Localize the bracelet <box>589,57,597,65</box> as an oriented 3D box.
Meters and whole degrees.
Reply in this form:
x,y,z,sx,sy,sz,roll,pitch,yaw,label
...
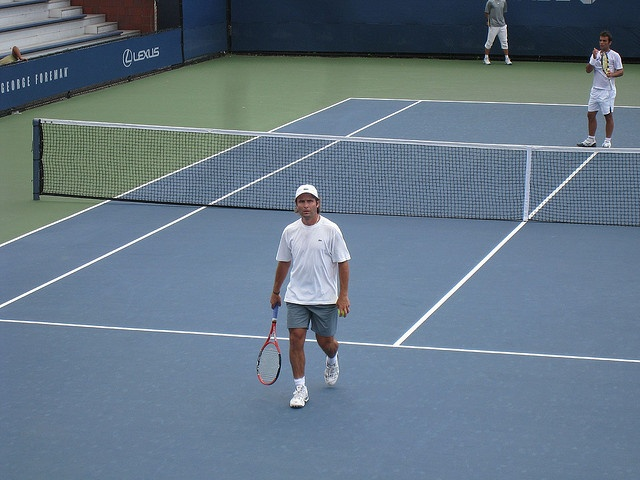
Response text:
x,y,z,sx,sy,sz,roll,pitch,yaw,label
5.052,-3.318,14.442,0.133,0.118,0.153,1,7,-1,bracelet

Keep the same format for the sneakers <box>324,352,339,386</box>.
x,y,z,sx,sy,sz,roll,pitch,yaw,label
0.113,1.278,7.676,0.111,0.352,0.135,1,9,8,sneakers

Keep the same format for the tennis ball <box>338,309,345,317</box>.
x,y,z,sx,sy,sz,roll,pitch,yaw,label
0.198,0.682,7.294,0.051,0.070,0.091,1,3,4,tennis ball

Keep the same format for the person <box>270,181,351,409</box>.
x,y,z,sx,sy,sz,roll,pitch,yaw,label
-0.095,0.537,7.407,0.726,2.107,0.418,2,6,-3,person

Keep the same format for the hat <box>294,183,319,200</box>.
x,y,z,sx,sy,sz,roll,pitch,yaw,label
-0.123,-0.445,7.249,0.197,0.126,0.228,5,7,19,hat

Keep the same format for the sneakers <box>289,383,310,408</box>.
x,y,z,sx,sy,sz,roll,pitch,yaw,label
-0.199,1.490,7.418,0.105,0.123,0.272,0,8,9,sneakers
